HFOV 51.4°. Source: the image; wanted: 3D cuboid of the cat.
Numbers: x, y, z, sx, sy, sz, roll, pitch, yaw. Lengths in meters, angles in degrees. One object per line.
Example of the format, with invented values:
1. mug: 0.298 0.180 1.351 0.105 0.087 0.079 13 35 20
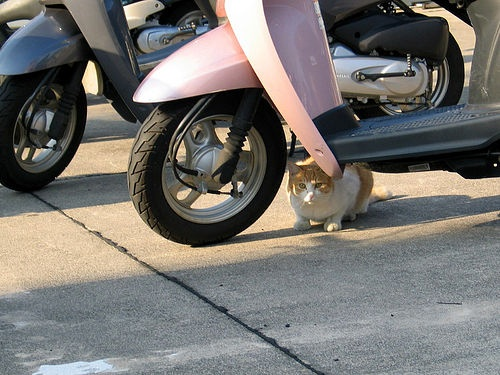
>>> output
1. cat: 0.500 0.025 3.156 0.308 0.244 0.609 1 10 30
